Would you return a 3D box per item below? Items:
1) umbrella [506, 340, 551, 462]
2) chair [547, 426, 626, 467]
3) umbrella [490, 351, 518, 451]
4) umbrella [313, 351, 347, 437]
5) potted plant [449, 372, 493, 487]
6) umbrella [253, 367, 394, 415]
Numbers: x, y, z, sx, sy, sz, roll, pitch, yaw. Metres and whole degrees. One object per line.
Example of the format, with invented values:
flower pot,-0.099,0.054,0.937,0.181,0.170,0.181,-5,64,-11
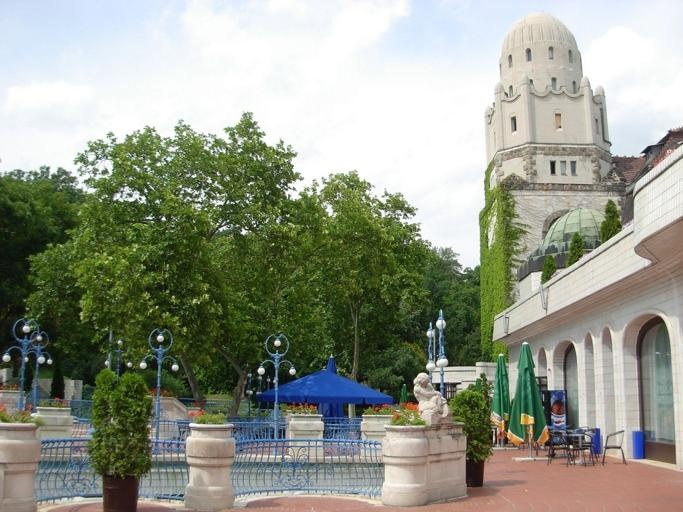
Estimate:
umbrella,6.807,5.451,33.547,1.222,4.583,1.094,-2,-6,15
chair,8.831,6.953,33.204,2.402,1.961,2.454,0,-6,-14
umbrella,6.221,5.560,35.107,0.816,4.556,1.079,-1,-4,11
umbrella,-0.355,6.255,41.404,1.245,3.835,1.272,4,-5,-27
potted plant,4.063,5.597,28.899,1.807,2.748,1.859,9,-16,-34
umbrella,-0.507,5.590,38.709,4.420,1.333,1.635,0,-15,-6
